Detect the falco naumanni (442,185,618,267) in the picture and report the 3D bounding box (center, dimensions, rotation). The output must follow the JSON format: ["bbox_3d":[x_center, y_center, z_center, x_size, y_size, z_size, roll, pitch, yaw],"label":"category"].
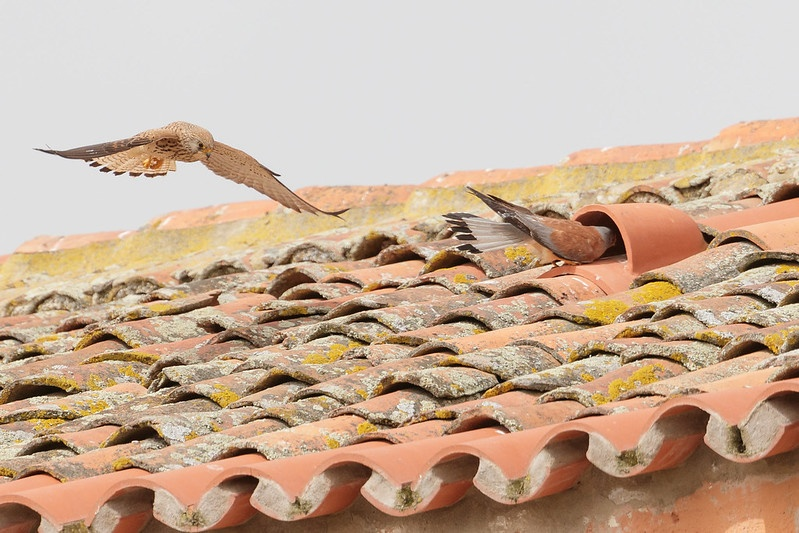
[{"bbox_3d":[1.174,-0.304,14.277,1.814,0.567,0.563,14,27,-13],"label":"falco naumanni"}]

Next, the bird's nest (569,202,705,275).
[{"bbox_3d":[2.196,-0.319,14.577,1.165,0.467,1.085,-6,4,-25],"label":"bird's nest"}]
